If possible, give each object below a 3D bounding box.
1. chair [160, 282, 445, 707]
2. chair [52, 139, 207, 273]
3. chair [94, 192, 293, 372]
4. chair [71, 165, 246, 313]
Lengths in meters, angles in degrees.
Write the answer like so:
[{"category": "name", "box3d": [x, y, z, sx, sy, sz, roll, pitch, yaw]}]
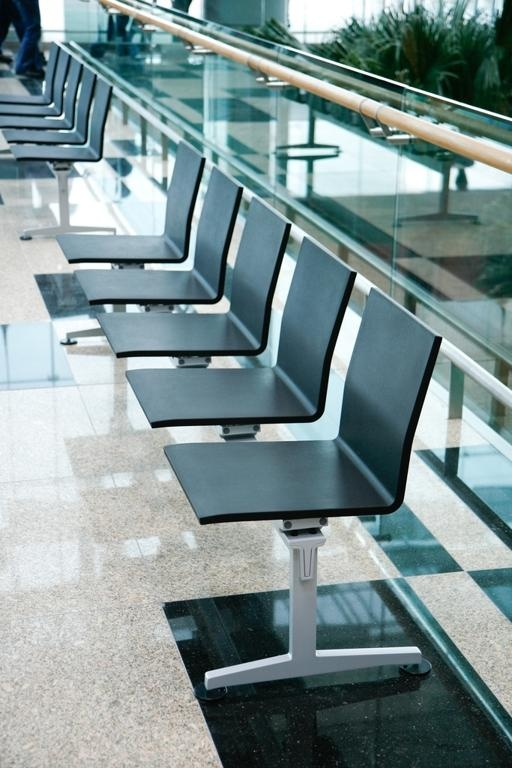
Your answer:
[{"category": "chair", "box3d": [0.076, 0.184, 1.183, 0.455, 0.689, 0.422, -3, 15, -16]}, {"category": "chair", "box3d": [-0.496, -0.697, 2.531, 0.537, 0.392, 0.344, -6, 30, -19]}, {"category": "chair", "box3d": [-0.140, -0.312, 1.869, 0.608, 0.443, 0.397, -6, 33, -15]}, {"category": "chair", "box3d": [-0.278, -0.510, 2.213, 0.646, 0.458, 0.424, -6, 35, -16]}]
